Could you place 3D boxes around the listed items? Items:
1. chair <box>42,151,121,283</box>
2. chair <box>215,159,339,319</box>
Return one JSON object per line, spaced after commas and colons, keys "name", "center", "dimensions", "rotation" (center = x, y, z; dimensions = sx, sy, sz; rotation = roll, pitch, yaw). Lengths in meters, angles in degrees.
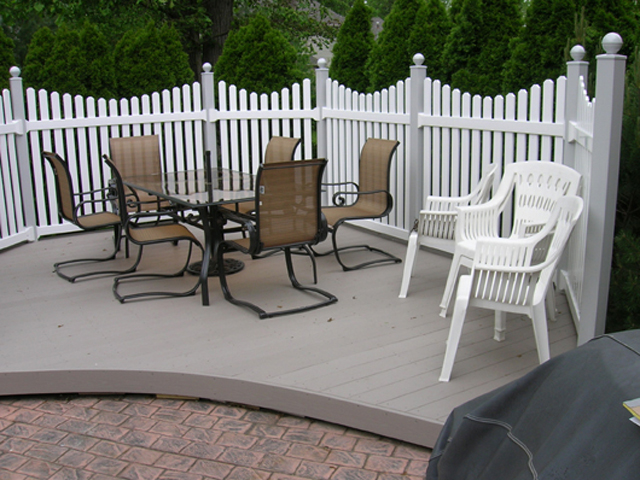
{"name": "chair", "center": [-2.382, -0.284, 5.506], "dimensions": [0.739, 1.219, 0.763], "rotation": [11, 16, 42]}
{"name": "chair", "center": [-0.406, -0.054, 4.561], "dimensions": [0.863, 1.295, 1.047], "rotation": [-2, 8, -22]}
